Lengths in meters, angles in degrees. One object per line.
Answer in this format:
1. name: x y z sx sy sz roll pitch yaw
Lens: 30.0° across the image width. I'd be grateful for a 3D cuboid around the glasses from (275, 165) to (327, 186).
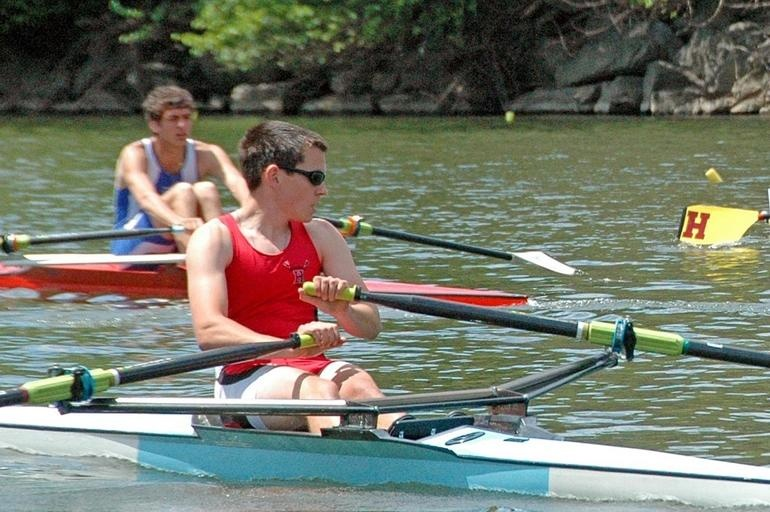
1. glasses: -0.742 -0.720 12.623 0.333 0.070 0.215 17 0 -1
